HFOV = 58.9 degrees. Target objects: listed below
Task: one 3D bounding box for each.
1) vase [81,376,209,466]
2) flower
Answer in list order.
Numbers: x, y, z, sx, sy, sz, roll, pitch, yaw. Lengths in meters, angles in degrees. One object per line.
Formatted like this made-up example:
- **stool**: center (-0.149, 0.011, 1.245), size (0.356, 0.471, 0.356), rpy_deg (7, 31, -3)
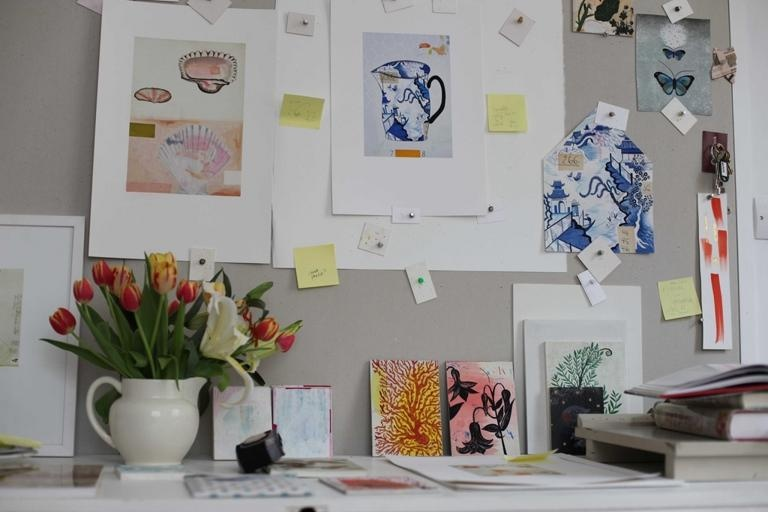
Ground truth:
- **vase**: center (-0.603, 0.410, 1.724), size (0.297, 0.225, 0.236), rpy_deg (2, -6, -12)
- **flower**: center (-0.576, 0.254, 1.798), size (0.505, 0.449, 0.679), rpy_deg (-3, -8, 0)
